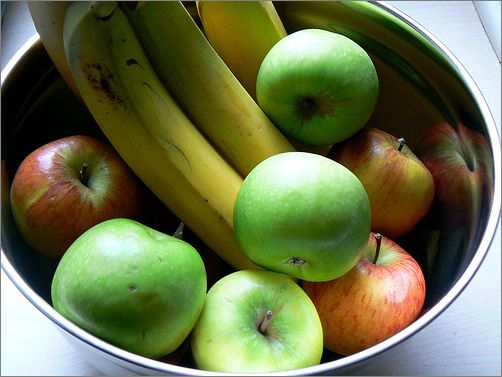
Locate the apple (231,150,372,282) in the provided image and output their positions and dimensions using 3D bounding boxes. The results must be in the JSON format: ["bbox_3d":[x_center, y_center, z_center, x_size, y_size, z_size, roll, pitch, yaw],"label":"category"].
[{"bbox_3d":[0.083,0.035,0.814,0.182,0.183,0.158,31,54,0],"label":"apple"}]

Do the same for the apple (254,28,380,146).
[{"bbox_3d":[0.115,-0.211,0.885,0.164,0.201,0.184,-3,23,-3],"label":"apple"}]

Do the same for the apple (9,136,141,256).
[{"bbox_3d":[-0.287,0.005,0.813,0.171,0.179,0.205,10,61,-22],"label":"apple"}]

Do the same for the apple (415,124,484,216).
[{"bbox_3d":[0.352,-0.028,0.854,0.105,0.153,0.107,-9,4,-38],"label":"apple"}]
